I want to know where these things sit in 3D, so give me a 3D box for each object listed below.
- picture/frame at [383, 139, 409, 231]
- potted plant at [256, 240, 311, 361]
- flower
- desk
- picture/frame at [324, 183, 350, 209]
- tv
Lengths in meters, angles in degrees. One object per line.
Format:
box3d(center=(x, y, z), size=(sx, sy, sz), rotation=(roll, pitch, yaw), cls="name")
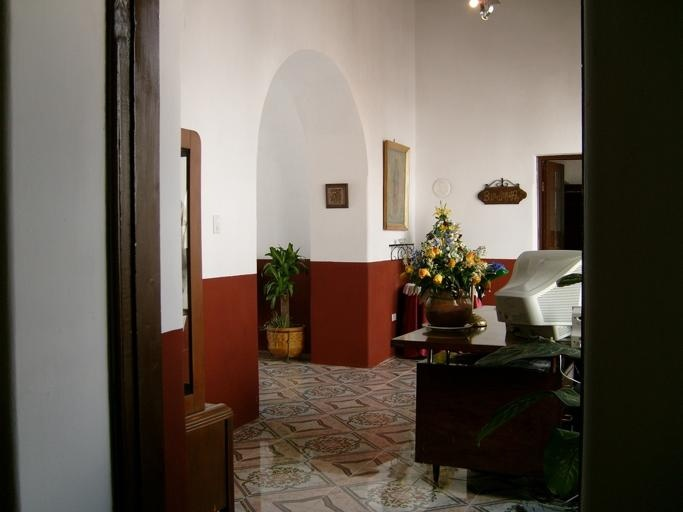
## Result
box3d(center=(0.623, -0.824, 6.156), size=(0.077, 1.267, 1.045), rotation=(-1, -1, 21), cls="picture/frame")
box3d(center=(-0.673, 0.505, 6.346), size=(0.623, 1.294, 0.789), rotation=(-1, 0, -10), cls="potted plant")
box3d(center=(0.633, 0.008, 2.971), size=(0.539, 0.464, 0.394), rotation=(-1, 1, -27), cls="flower")
box3d(center=(0.718, 0.759, 2.638), size=(0.767, 0.885, 0.640), rotation=(-1, 0, 24), cls="desk")
box3d(center=(-0.034, -0.632, 5.610), size=(0.250, 0.281, 0.019), rotation=(1, 1, 19), cls="picture/frame")
box3d(center=(0.932, 0.176, 2.520), size=(0.359, 0.405, 0.392), rotation=(-1, 1, 27), cls="tv")
